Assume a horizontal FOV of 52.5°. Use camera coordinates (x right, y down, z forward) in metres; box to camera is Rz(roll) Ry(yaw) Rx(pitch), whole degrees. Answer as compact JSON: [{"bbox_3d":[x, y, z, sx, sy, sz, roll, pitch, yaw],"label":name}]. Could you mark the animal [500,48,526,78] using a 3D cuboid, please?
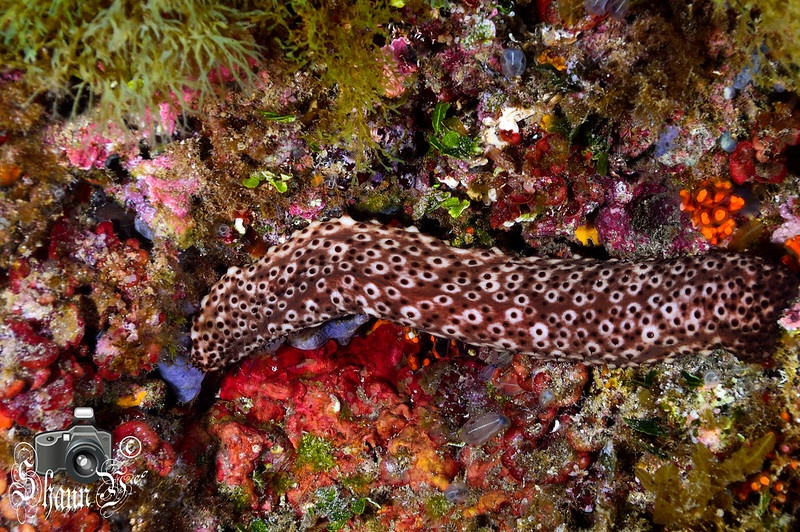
[{"bbox_3d":[1.073,-1.918,7.663,0.231,0.138,0.244,0,85,2],"label":"animal"}]
